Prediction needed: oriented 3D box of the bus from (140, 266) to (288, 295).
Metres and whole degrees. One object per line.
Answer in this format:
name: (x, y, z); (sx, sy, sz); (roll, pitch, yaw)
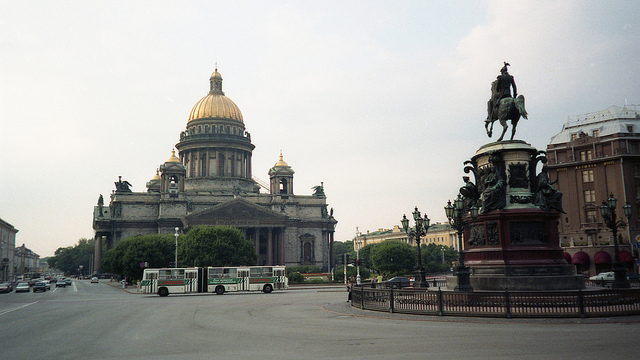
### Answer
bus: (-14.151, 13.600, 98.055); (16.766, 3.902, 5.402); (1, -1, -32)

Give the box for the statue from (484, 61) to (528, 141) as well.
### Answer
statue: (19.322, -8.327, 75.500); (3.815, 8.237, 6.992); (3, -2, -19)

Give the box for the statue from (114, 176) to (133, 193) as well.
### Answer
statue: (-32.084, 1.069, 117.567); (3.296, 2.720, 2.418); (2, -9, -16)

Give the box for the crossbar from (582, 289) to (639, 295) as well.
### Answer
crossbar: (27.295, 10.435, 67.711); (5.532, 0.533, 0.355); (-3, 3, -10)

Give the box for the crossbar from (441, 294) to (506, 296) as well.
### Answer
crossbar: (15.148, 10.795, 68.457); (4.798, 0.112, 0.115); (-2, 3, 12)

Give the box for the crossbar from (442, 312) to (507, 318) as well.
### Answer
crossbar: (14.687, 12.666, 68.302); (5.842, 0.362, 0.372); (-2, 3, 12)
